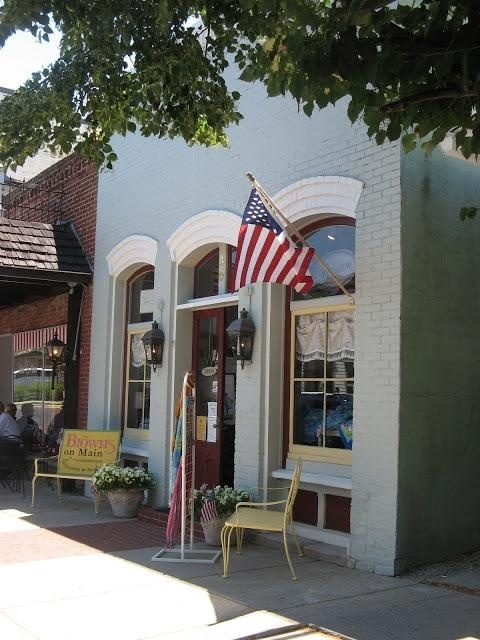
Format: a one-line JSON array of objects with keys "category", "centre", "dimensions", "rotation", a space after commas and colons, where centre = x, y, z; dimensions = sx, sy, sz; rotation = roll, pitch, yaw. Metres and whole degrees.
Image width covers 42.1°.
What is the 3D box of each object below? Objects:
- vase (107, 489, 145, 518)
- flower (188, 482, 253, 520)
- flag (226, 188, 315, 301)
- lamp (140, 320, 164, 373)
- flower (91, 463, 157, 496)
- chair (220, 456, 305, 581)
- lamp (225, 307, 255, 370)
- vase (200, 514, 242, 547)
[{"category": "vase", "centre": [-1.551, 2.471, 8.510], "dimensions": [0.426, 0.304, 0.421], "rotation": [5, -7, -39]}, {"category": "flower", "centre": [-0.190, 1.939, 6.838], "dimensions": [0.495, 0.276, 0.502], "rotation": [1, -2, 15]}, {"category": "flag", "centre": [0.314, -0.806, 5.741], "dimensions": [0.752, 0.236, 1.266], "rotation": [-4, -48, -5]}, {"category": "lamp", "centre": [-1.257, 0.372, 9.003], "dimensions": [0.285, 0.673, 0.333], "rotation": [4, -7, -26]}, {"category": "flower", "centre": [-1.595, 2.141, 8.400], "dimensions": [0.477, 0.261, 0.536], "rotation": [4, -4, 12]}, {"category": "chair", "centre": [0.217, 1.785, 5.795], "dimensions": [0.688, 0.989, 0.674], "rotation": [0, -2, 17]}, {"category": "lamp", "centre": [-0.001, 0.201, 7.330], "dimensions": [0.286, 0.723, 0.310], "rotation": [7, -9, -40]}, {"category": "vase", "centre": [-0.284, 2.223, 6.707], "dimensions": [0.304, 0.264, 0.348], "rotation": [1, 1, -4]}]
